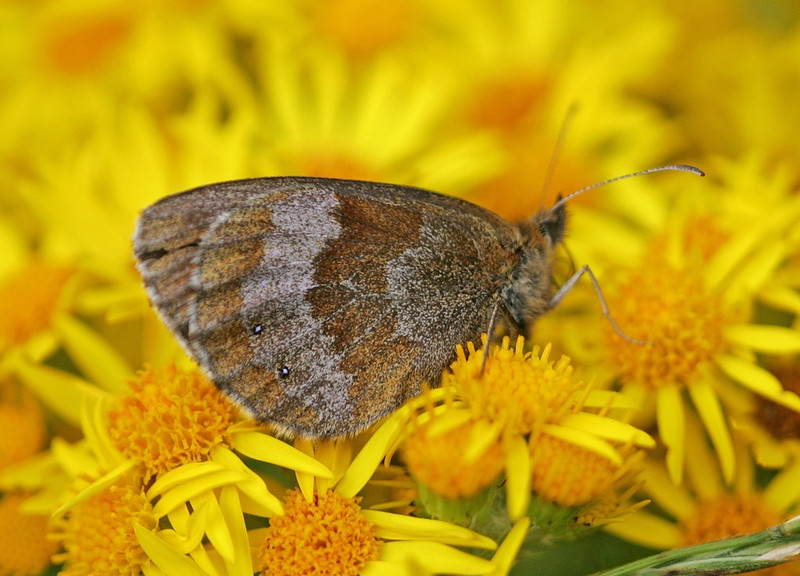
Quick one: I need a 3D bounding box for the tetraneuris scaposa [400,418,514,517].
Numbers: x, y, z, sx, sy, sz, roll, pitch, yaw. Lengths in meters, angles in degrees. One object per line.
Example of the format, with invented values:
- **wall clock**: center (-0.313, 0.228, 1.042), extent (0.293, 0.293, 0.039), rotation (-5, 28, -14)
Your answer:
- **tetraneuris scaposa**: center (0.093, 0.320, 1.532), extent (0.167, 0.059, 0.144), rotation (17, 69, 6)
